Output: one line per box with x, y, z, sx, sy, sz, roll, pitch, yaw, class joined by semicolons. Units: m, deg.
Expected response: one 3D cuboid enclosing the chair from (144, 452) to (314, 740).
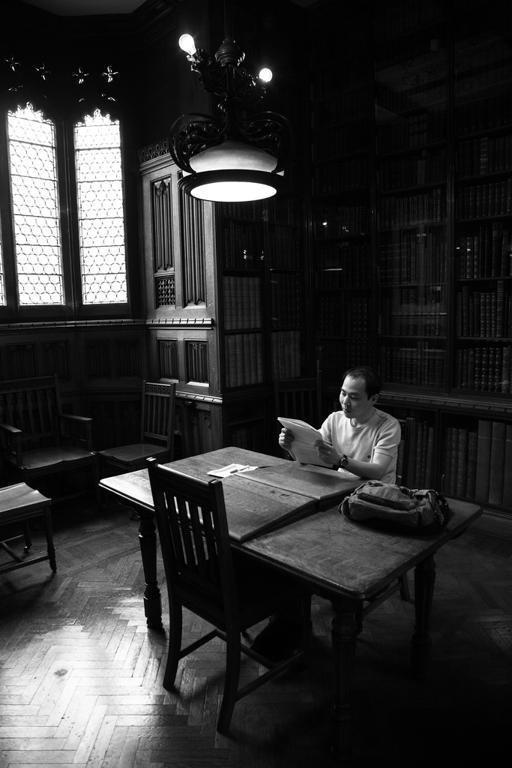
-0.083;0.720;1.956;0.427;1.042;0.529;14;24;40;chair

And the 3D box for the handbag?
0.421;0.340;1.821;0.207;0.082;0.162;7;11;35;handbag

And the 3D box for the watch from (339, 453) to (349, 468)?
0.329;0.297;2.271;0.026;0.052;0.044;1;-2;4;watch

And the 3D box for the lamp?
-0.079;-0.886;1.999;0.388;0.586;0.418;-5;-3;44;lamp
